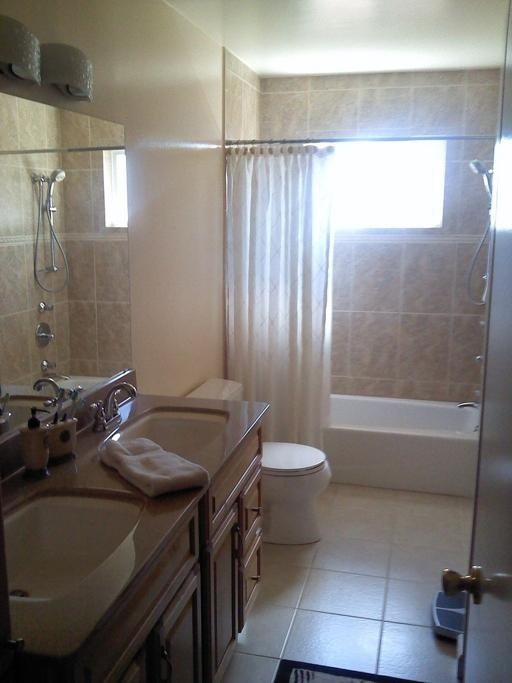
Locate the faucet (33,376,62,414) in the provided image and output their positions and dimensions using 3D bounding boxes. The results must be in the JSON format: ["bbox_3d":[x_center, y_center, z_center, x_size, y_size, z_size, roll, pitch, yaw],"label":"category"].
[{"bbox_3d":[-0.575,0.150,1.586,0.068,0.101,0.154,-3,9,-14],"label":"faucet"}]

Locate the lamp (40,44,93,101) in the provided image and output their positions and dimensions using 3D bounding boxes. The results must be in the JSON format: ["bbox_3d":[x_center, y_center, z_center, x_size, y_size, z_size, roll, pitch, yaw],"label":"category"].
[{"bbox_3d":[-0.518,-0.727,1.565,0.088,0.067,0.140,-1,0,0],"label":"lamp"}]

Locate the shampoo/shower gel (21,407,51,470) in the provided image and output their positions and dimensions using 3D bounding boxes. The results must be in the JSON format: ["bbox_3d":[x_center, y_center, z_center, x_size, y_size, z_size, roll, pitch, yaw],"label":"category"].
[{"bbox_3d":[-0.535,0.237,1.382,0.054,0.168,0.060,-1,4,-8],"label":"shampoo/shower gel"}]

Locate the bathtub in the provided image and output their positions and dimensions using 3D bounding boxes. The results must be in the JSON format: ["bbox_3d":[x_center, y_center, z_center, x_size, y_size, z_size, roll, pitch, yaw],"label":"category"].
[{"bbox_3d":[0.924,0.636,3.687,0.973,0.369,0.828,2,9,16],"label":"bathtub"}]

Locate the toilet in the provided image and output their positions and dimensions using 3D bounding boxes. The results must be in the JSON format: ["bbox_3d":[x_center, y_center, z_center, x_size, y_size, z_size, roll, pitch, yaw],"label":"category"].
[{"bbox_3d":[-0.021,0.600,3.095,0.846,1.066,0.474,0,8,9],"label":"toilet"}]
